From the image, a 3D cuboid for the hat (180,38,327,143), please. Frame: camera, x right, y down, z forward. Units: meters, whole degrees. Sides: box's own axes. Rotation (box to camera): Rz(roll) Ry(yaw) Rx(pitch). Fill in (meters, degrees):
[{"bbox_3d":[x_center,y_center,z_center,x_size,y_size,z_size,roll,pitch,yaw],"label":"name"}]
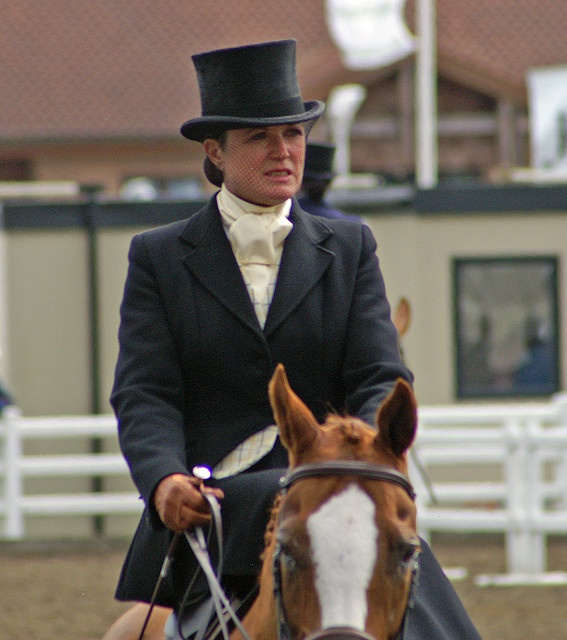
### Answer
[{"bbox_3d":[-0.286,-1.477,17.336,0.677,0.416,0.684,-9,2,10],"label":"hat"}]
